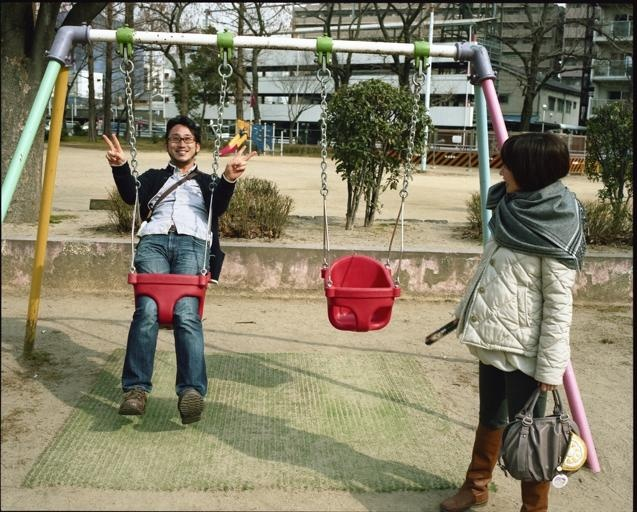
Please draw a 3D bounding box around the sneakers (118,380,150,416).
[{"bbox_3d":[-1.014,0.804,3.406,0.122,0.150,0.147,2,13,-2],"label":"sneakers"}]

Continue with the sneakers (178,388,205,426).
[{"bbox_3d":[-0.688,0.813,3.373,0.111,0.209,0.096,3,13,-14],"label":"sneakers"}]

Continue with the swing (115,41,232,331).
[{"bbox_3d":[-1.107,-0.412,4.773,0.736,2.204,2.882,-2,14,-16],"label":"swing"}]

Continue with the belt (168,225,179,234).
[{"bbox_3d":[-0.876,-0.161,3.760,0.048,0.052,0.017,1,-6,8],"label":"belt"}]

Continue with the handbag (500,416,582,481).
[{"bbox_3d":[0.969,0.832,2.709,0.299,0.311,0.172,-2,6,-8],"label":"handbag"}]

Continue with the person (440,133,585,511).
[{"bbox_3d":[0.901,0.341,2.888,0.521,1.788,0.522,7,13,21],"label":"person"}]
